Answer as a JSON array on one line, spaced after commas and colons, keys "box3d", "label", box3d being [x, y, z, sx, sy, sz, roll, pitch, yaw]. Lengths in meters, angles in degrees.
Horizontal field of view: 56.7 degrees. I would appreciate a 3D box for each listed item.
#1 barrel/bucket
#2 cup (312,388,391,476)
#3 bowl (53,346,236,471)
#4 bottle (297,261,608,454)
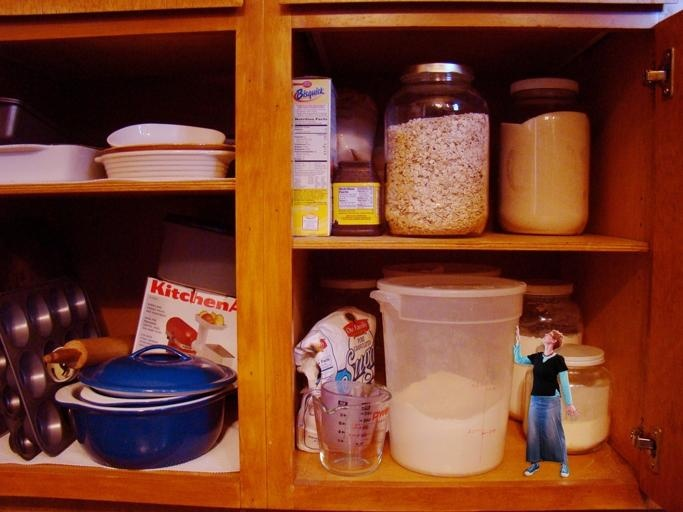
[{"box3d": [0.225, 0.263, 1.669, 0.401, 0.473, 0.416, -1, 4, 0], "label": "barrel/bucket"}, {"box3d": [0.035, 0.406, 1.580, 0.162, 0.183, 0.207, 4, 9, 29], "label": "cup"}, {"box3d": [-0.463, 0.315, 1.490, 0.344, 0.212, 0.293, 0, 1, -17], "label": "bowl"}, {"box3d": [0.334, 0.240, 1.740, 0.663, 0.439, 0.406, 0, 5, 11], "label": "bottle"}]
